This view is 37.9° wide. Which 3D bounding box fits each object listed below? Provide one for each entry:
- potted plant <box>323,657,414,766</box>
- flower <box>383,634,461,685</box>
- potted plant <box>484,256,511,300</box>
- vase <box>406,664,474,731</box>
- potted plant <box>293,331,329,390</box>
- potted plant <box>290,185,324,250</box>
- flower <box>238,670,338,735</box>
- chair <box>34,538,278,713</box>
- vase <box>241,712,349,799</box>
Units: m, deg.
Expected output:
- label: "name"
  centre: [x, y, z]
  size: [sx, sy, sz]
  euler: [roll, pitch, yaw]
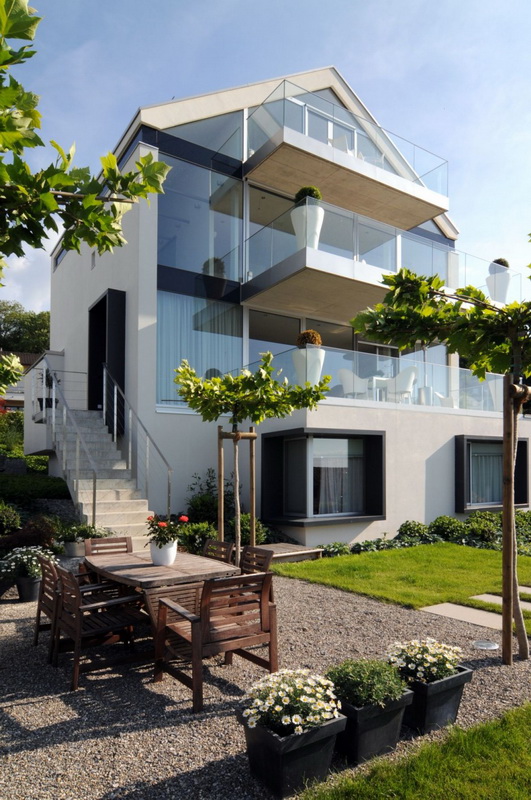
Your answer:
- label: "potted plant"
  centre: [0.612, 1.797, 4.643]
  size: [0.529, 0.564, 0.446]
  euler: [6, -9, -35]
- label: "flower"
  centre: [0.998, 1.655, 4.935]
  size: [0.266, 0.157, 0.272]
  euler: [-3, -5, 44]
- label: "potted plant"
  centre: [5.409, -2.719, 17.984]
  size: [0.385, 0.902, 0.853]
  euler: [-2, -4, 45]
- label: "vase"
  centre: [1.043, 1.889, 4.927]
  size: [0.433, 0.339, 0.518]
  euler: [0, 0, 36]
- label: "potted plant"
  centre: [0.710, -0.680, 12.327]
  size: [0.508, 0.966, 1.098]
  euler: [1, -3, 2]
- label: "potted plant"
  centre: [0.753, -3.179, 13.723]
  size: [0.495, 1.296, 0.517]
  euler: [1, -20, -2]
- label: "flower"
  centre: [0.122, 1.648, 4.227]
  size: [0.332, 0.200, 0.314]
  euler: [0, 3, -23]
- label: "chair"
  centre: [-0.864, 1.655, 5.997]
  size: [1.436, 0.853, 2.063]
  euler: [3, -4, -35]
- label: "vase"
  centre: [0.159, 1.846, 4.161]
  size: [0.446, 0.346, 0.380]
  euler: [12, -18, -39]
